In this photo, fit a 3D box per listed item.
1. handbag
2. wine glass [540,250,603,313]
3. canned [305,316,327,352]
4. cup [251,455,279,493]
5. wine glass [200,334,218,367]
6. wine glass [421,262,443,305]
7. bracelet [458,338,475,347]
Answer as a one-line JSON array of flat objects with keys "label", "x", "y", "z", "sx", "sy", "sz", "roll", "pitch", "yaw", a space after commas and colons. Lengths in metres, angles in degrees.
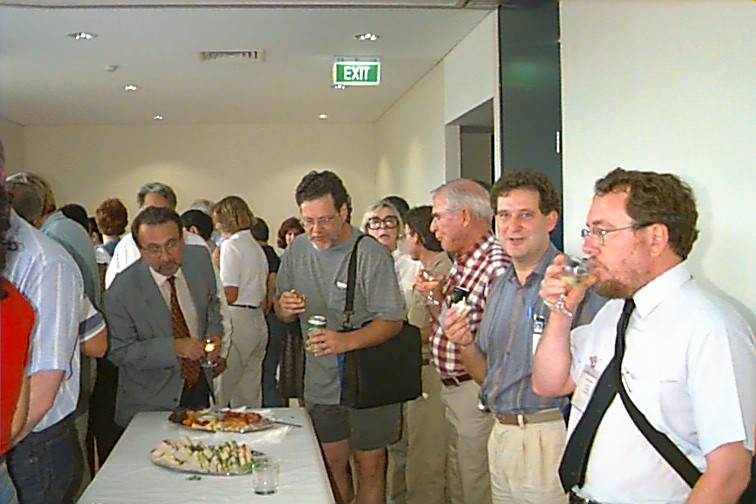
[{"label": "handbag", "x": -0.005, "y": 0.622, "z": 3.328, "sx": 0.533, "sy": 0.475, "sz": 0.203, "roll": -2, "pitch": -4, "yaw": -31}, {"label": "wine glass", "x": 0.746, "y": 0.100, "z": 2.362, "sx": 0.178, "sy": 0.266, "sz": 0.164, "roll": 0, "pitch": 25, "yaw": -10}, {"label": "canned", "x": -0.323, "y": 0.408, "z": 3.148, "sx": 0.082, "sy": 0.184, "sz": 0.181, "roll": 1, "pitch": 12, "yaw": -2}, {"label": "cup", "x": -0.438, "y": 0.902, "z": 2.421, "sx": 0.119, "sy": 0.123, "sz": 0.114, "roll": -1, "pitch": -6, "yaw": 0}, {"label": "wine glass", "x": -0.873, "y": 0.528, "z": 3.090, "sx": 0.071, "sy": 0.180, "sz": 0.103, "roll": -6, "pitch": 15, "yaw": -31}, {"label": "wine glass", "x": 0.330, "y": 0.202, "z": 3.474, "sx": 0.093, "sy": 0.209, "sz": 0.158, "roll": -12, "pitch": 33, "yaw": -28}, {"label": "bracelet", "x": 0.406, "y": 0.422, "z": 2.788, "sx": 0.056, "sy": 0.039, "sz": 0.056, "roll": 0, "pitch": 4, "yaw": 30}]
